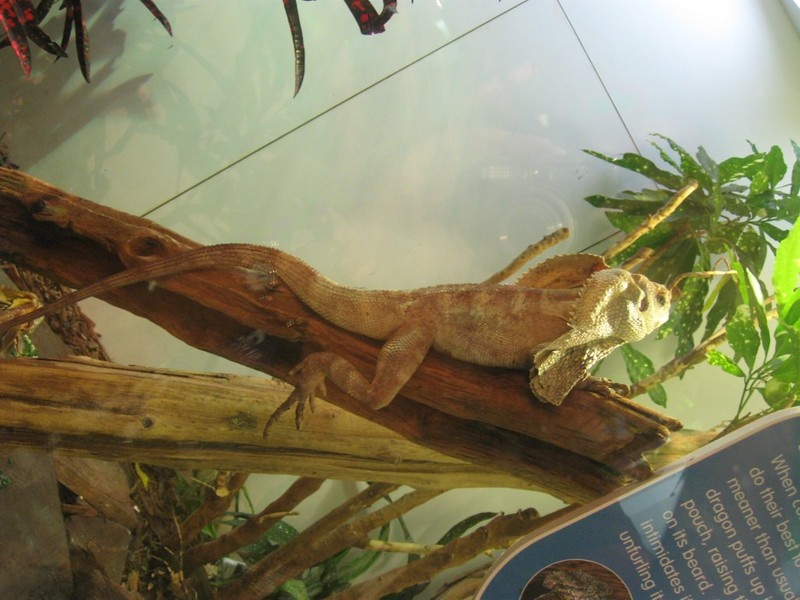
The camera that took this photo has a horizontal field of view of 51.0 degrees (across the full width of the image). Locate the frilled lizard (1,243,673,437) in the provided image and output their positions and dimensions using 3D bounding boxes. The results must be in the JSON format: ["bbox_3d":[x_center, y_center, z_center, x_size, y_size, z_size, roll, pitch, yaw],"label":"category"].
[{"bbox_3d":[-0.192,0.141,2.835,2.065,0.719,0.452,6,-39,-6],"label":"frilled lizard"}]
